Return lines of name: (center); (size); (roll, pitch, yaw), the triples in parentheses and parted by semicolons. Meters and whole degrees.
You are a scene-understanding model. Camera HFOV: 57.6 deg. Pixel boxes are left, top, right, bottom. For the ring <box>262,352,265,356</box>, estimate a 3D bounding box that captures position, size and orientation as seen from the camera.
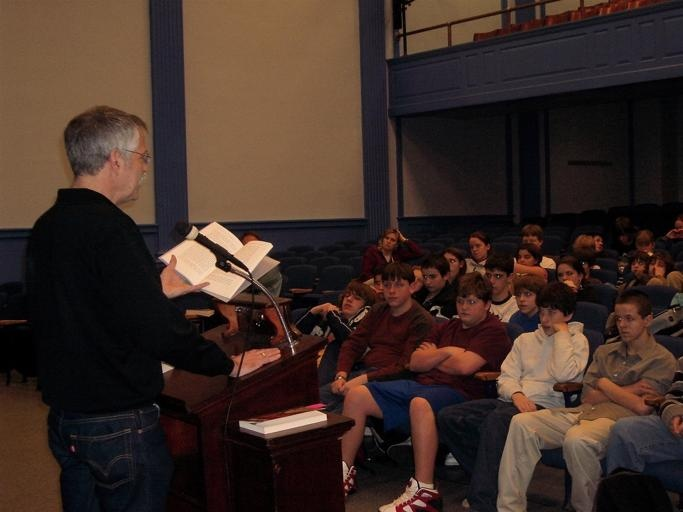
ring: (-0.288, 0.363, 2.292); (0.009, 0.009, 0.002); (6, 4, -15)
